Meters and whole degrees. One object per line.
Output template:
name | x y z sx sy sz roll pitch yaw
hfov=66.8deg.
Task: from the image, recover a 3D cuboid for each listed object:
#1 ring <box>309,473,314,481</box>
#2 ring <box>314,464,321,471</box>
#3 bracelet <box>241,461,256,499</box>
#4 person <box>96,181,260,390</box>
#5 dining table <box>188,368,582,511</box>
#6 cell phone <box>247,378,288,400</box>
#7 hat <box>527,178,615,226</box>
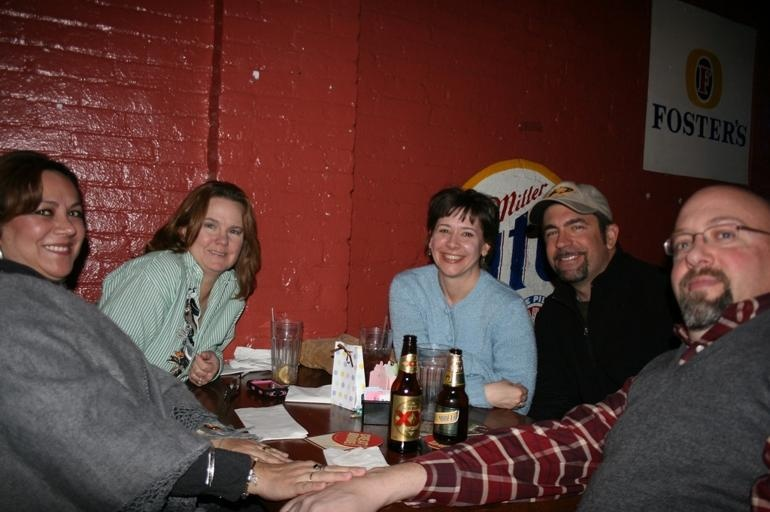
ring | -0.251 0.749 1.993 0.006 0.019 0.020 21 36 -19
ring | -0.234 0.731 2.017 0.019 0.006 0.011 9 7 29
bracelet | -0.478 0.790 2.063 0.028 0.109 0.089 16 36 -12
person | -1.005 0.114 2.971 0.560 0.906 0.663 25 9 42
dining table | -0.283 0.667 2.450 1.057 0.224 0.670 11 8 30
cell phone | -0.513 0.572 2.547 0.089 0.033 0.114 -1 9 -33
hat | 1.083 -0.328 3.391 0.456 0.209 0.322 11 -6 -42
